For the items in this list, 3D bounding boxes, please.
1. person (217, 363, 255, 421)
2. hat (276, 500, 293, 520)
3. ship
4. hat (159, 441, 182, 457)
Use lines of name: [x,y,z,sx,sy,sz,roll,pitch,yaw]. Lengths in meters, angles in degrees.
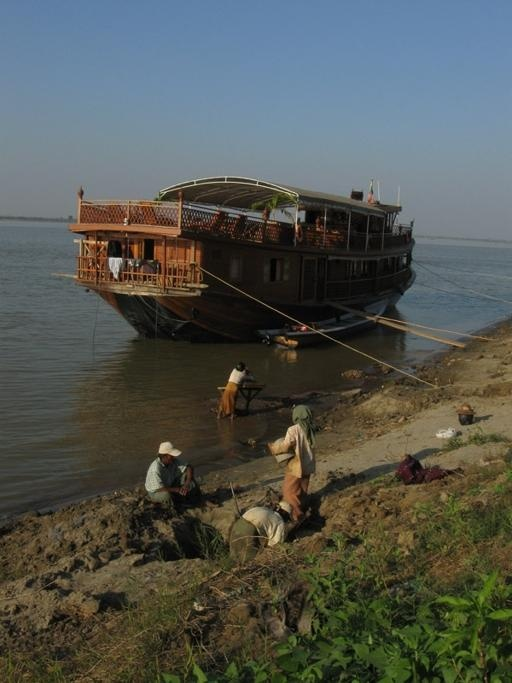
person: [-0.477,0.942,12.909,0.771,1.068,0.691,-14,1,-1]
hat: [0.307,1.822,7.204,0.149,0.167,0.168,2,19,35]
ship: [1.033,-2.871,23.826,5.468,4.244,14.815,8,12,36]
hat: [-1.056,1.296,7.828,0.318,0.130,0.207,1,10,5]
